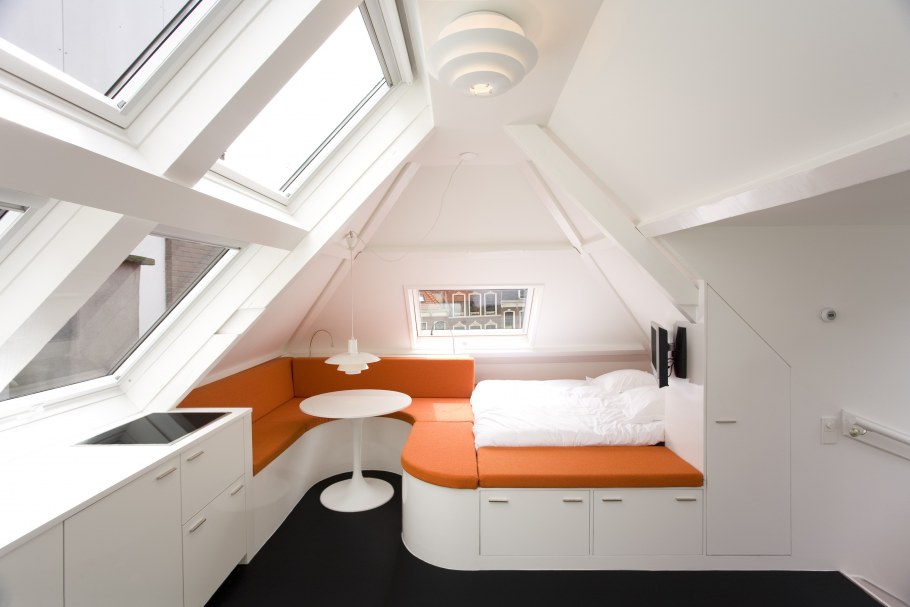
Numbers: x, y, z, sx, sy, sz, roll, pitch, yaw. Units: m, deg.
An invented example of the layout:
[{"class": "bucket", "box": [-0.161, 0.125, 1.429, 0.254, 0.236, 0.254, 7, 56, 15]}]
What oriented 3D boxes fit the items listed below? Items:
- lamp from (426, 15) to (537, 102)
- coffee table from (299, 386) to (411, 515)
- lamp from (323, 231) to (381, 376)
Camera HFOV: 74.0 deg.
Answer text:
[{"class": "lamp", "box": [0.136, -1.175, 2.878, 0.350, 0.155, 0.346, 3, -10, -14]}, {"class": "coffee table", "box": [-0.884, 1.129, 4.913, 0.861, 0.719, 0.861, 2, 4, 37]}, {"class": "lamp", "box": [-0.796, 0.076, 4.708, 0.389, 0.859, 0.382, 0, 2, -15]}]
